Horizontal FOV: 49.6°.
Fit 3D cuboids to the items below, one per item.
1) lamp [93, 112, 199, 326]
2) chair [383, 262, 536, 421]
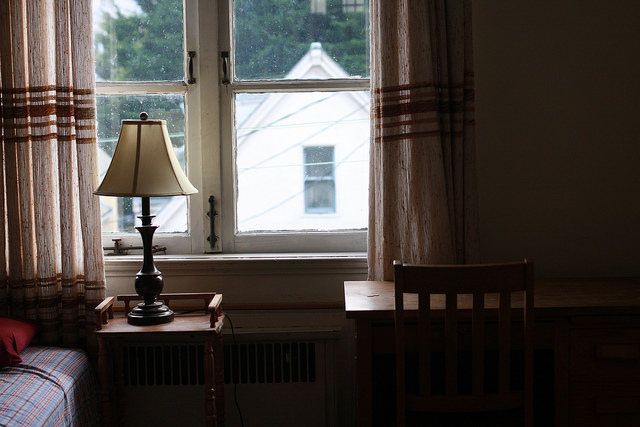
[{"bbox_3d":[-0.819,0.029,3.269,0.470,0.997,0.245,-2,3,-14],"label":"lamp"},{"bbox_3d":[0.610,0.573,3.097,0.668,0.758,0.430,-1,3,5],"label":"chair"}]
